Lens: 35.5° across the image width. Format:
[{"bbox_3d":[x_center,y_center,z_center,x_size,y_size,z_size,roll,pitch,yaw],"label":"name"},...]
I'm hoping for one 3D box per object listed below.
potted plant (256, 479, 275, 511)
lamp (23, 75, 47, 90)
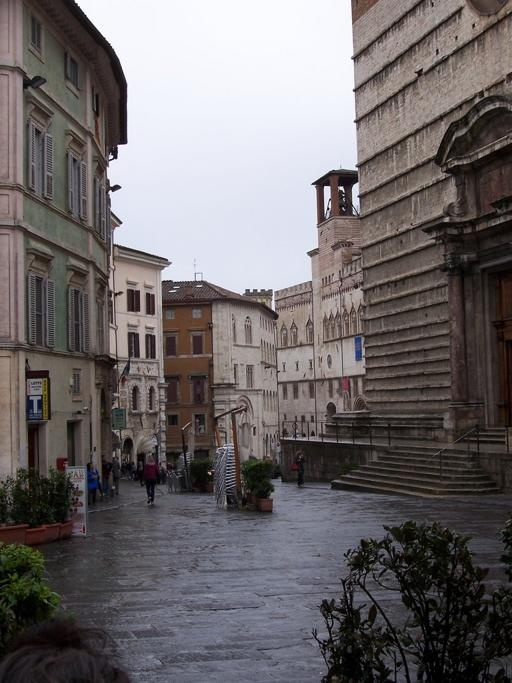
[{"bbox_3d":[0.303,4.351,22.509,0.532,1.091,0.855,3,-9,-11],"label":"potted plant"},{"bbox_3d":[-6.327,-7.483,22.852,0.618,0.232,0.375,-17,-20,19],"label":"lamp"}]
